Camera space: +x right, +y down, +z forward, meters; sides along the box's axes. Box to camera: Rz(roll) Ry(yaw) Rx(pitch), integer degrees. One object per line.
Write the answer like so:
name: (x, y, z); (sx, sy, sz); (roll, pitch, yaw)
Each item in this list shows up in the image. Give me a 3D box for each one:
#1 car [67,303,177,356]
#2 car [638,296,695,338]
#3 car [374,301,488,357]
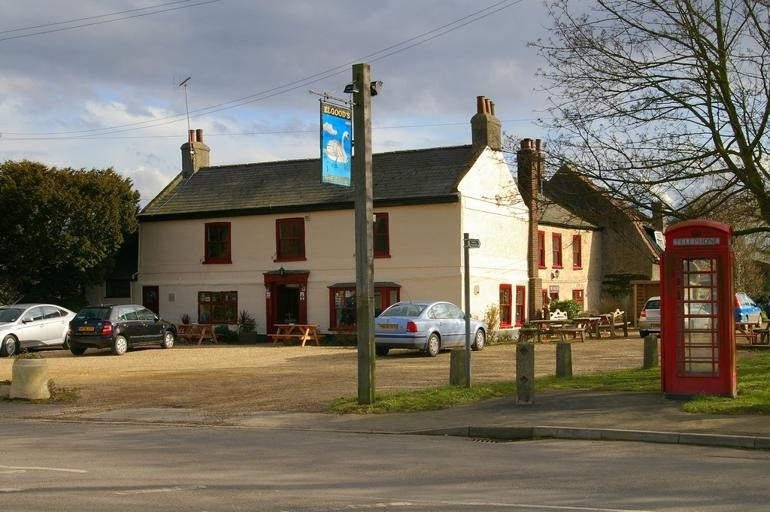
car: (-9.544, 2.793, 42.366); (2.116, 1.844, 4.638); (-5, -8, 37)
car: (11.147, 2.328, 46.695); (1.285, 1.295, 2.985); (-1, 5, 18)
car: (1.218, 2.505, 39.190); (1.367, 1.915, 3.185); (-6, -9, 42)
